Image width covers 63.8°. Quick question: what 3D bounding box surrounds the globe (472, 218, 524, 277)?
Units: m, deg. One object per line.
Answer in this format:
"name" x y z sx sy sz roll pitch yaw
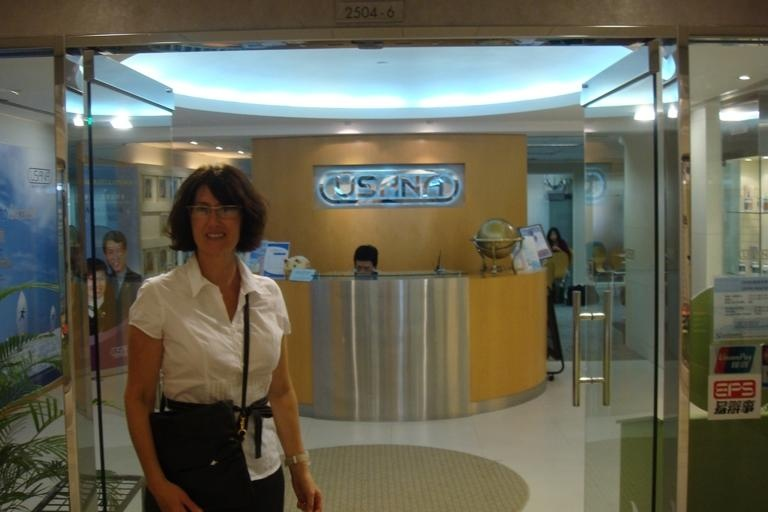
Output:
"globe" 1.328 -0.102 6.706 0.704 0.781 0.680 0 -5 -11
